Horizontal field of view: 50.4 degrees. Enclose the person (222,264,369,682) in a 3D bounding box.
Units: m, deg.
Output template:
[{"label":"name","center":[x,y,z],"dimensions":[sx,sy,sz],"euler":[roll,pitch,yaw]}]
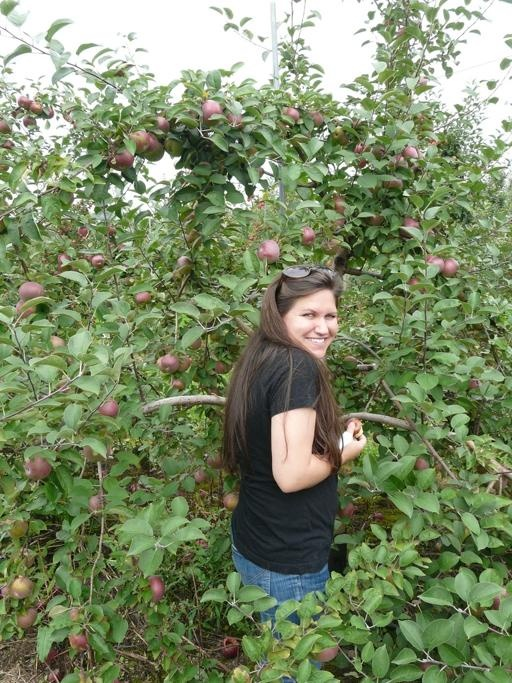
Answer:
[{"label":"person","center":[0.096,0.271,1.676],"dimensions":[0.436,1.030,0.453],"euler":[4,-9,7]}]
